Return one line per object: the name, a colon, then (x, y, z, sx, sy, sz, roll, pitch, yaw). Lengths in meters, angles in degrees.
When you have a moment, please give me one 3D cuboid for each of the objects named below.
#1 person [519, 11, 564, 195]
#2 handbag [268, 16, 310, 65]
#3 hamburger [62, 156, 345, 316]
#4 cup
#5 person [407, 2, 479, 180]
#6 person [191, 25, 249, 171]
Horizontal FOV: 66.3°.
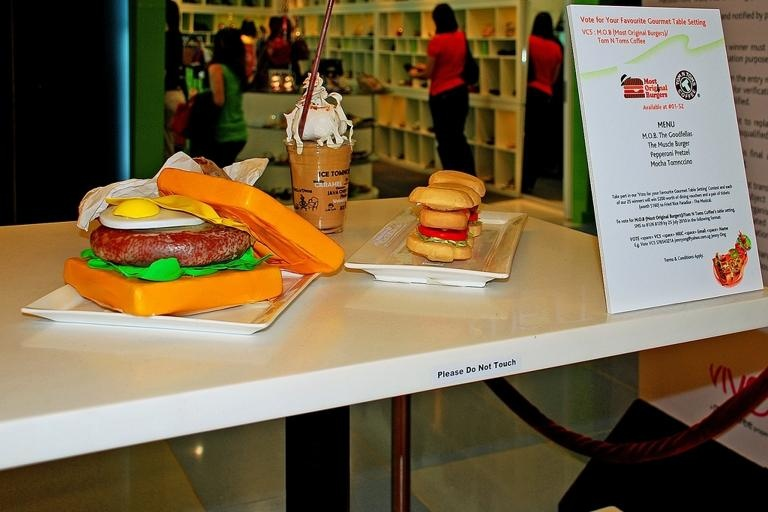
person: (1.692, -1.590, 6.255, 0.392, 1.873, 0.250, 2, 16, 17)
handbag: (-0.966, -2.116, 5.785, 0.337, 0.481, 0.167, -14, 9, -33)
hamburger: (-0.285, -0.006, 0.954, 0.357, 0.152, 0.269, -5, 25, -43)
cup: (-0.145, -0.163, 1.344, 0.163, 0.198, 0.154, 0, 13, 0)
person: (0.524, -1.293, 4.873, 0.488, 1.404, 1.266, -1, 16, 8)
person: (-1.399, -1.323, 4.956, 0.414, 1.136, 1.094, -3, 16, -1)
